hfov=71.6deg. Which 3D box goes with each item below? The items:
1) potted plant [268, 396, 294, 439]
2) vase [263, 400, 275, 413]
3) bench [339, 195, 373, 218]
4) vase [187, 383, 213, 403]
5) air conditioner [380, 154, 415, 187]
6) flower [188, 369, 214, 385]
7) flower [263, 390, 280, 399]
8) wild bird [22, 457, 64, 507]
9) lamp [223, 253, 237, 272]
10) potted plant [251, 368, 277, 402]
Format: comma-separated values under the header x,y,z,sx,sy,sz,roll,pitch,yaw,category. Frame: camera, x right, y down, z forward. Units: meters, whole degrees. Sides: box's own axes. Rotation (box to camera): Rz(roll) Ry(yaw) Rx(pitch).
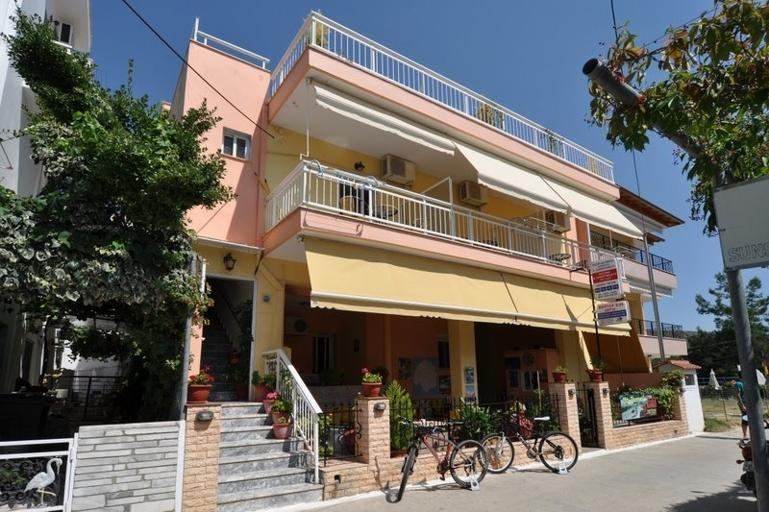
x,y,z,sx,sy,sz,roll,pitch,yaw,category
-2.699,4.297,14.000,0.717,1.073,0.756,7,-20,-23,potted plant
-3.176,4.032,14.365,0.346,0.293,0.342,11,-16,-41,vase
-0.974,-1.522,16.404,0.870,0.319,0.902,-8,-23,37,bench
-4.124,3.052,11.813,0.443,0.300,0.442,16,-26,-35,vase
0.395,-3.007,18.488,1.238,0.936,0.481,16,-24,-36,air conditioner
-4.221,2.749,12.108,0.467,0.451,1.030,5,-21,-22,flower
-3.013,3.769,14.453,0.249,0.175,0.266,3,-7,18,flower
-6.697,4.377,10.363,0.562,0.879,0.475,10,-21,-34,wild bird
-4.544,0.197,15.465,0.255,0.668,0.363,-16,-19,32,lamp
-3.378,3.618,14.919,0.779,0.870,0.708,3,-26,-5,potted plant
